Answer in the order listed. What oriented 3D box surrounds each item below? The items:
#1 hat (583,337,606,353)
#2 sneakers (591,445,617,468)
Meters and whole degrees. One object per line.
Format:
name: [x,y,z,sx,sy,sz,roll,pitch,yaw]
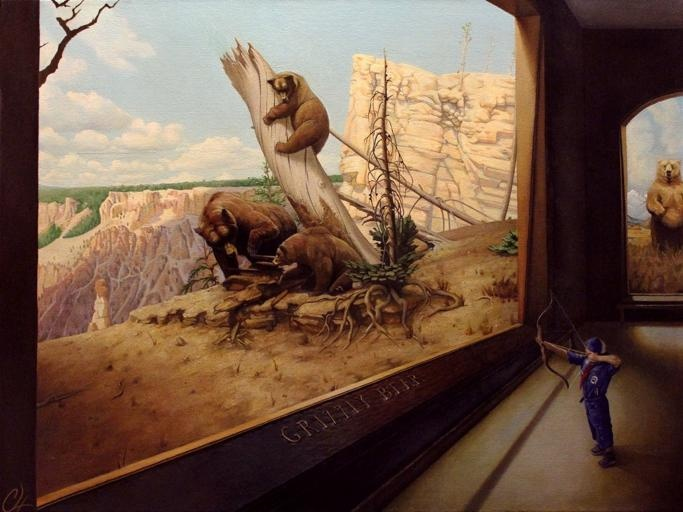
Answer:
hat: [1.701,0.582,2.929,0.113,0.050,0.150,5,7,22]
sneakers: [1.766,1.329,2.925,0.222,0.075,0.073,-1,-1,-25]
